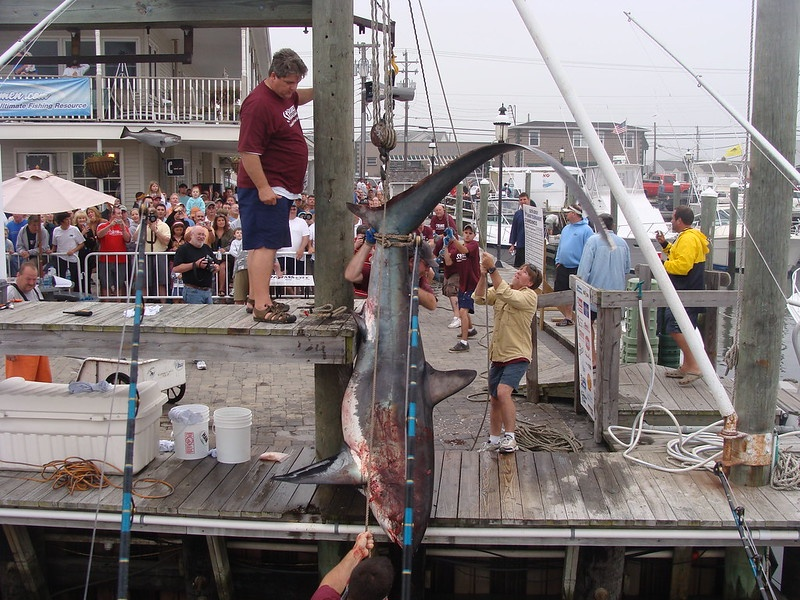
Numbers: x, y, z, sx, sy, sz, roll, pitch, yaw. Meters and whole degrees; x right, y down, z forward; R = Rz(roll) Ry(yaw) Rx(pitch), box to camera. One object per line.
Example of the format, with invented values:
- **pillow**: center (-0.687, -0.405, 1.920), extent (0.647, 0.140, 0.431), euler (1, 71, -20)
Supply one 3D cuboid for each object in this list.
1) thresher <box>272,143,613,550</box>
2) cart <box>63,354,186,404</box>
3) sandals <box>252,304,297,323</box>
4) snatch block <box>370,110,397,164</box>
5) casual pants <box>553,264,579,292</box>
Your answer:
- **thresher**: center (-0.029, 0.392, 8.458), extent (1.798, 3.272, 0.849), euler (0, 6, 7)
- **cart**: center (-2.982, 0.790, 11.255), extent (0.859, 0.512, 0.890), euler (9, 4, 15)
- **sandals**: center (-1.097, 0.125, 8.881), extent (0.304, 0.139, 0.166), euler (0, 14, -3)
- **snatch block**: center (-0.128, -1.371, 8.374), extent (0.181, 0.520, 0.195), euler (1, 0, 3)
- **casual pants**: center (2.359, -0.304, 14.357), extent (0.415, 0.570, 0.155), euler (0, 11, 0)
